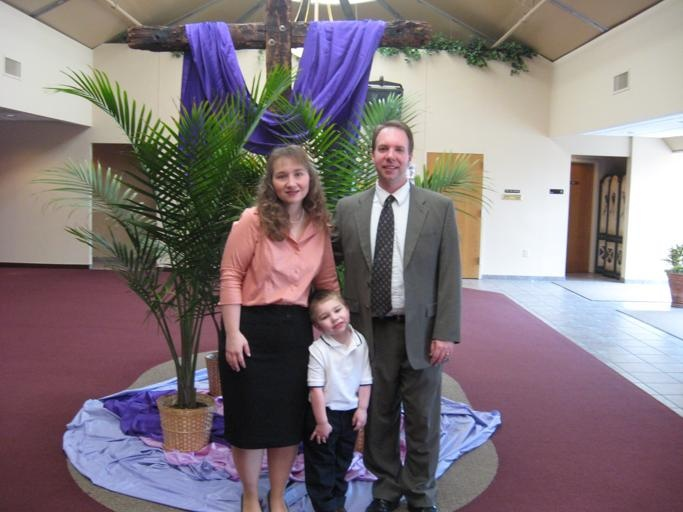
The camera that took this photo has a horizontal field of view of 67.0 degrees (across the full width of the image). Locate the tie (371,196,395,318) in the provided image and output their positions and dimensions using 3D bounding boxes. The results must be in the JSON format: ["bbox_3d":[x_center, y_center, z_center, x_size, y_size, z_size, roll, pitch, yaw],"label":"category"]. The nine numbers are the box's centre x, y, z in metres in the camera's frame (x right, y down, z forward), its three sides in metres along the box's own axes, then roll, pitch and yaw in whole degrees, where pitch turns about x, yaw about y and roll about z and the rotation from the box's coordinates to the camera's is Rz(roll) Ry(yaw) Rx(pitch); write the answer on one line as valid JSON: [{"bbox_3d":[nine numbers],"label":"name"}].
[{"bbox_3d":[0.228,-0.007,2.853,0.116,0.661,0.114,2,4,6],"label":"tie"}]
